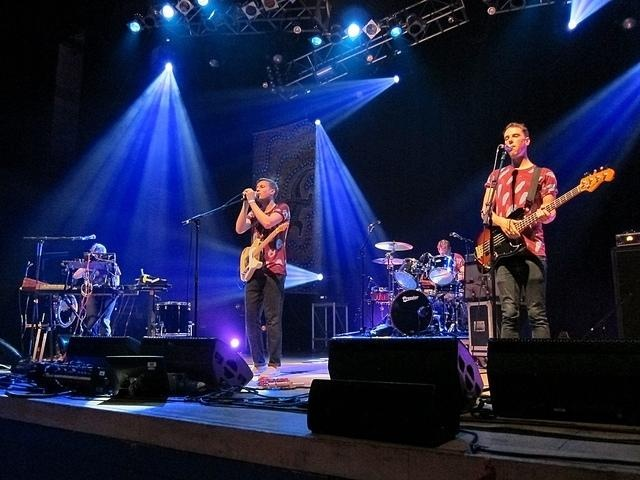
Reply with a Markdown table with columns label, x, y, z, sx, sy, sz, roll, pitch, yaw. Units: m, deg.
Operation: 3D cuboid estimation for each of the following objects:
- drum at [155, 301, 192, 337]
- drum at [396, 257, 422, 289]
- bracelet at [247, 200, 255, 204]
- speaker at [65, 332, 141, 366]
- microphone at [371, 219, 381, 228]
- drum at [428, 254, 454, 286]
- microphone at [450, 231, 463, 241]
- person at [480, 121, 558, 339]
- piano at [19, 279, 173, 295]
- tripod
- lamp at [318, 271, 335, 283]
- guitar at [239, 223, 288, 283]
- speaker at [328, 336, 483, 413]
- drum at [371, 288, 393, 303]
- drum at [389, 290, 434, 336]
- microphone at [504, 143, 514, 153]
| label | x | y | z | sx | sy | sz | roll | pitch | yaw |
| --- | --- | --- | --- | --- | --- | --- | --- | --- | --- |
| drum | -2.105 | 1.146 | 8.186 | 0.466 | 0.466 | 0.485 | 0 | -5 | 1 |
| drum | 1.291 | 0.521 | 8.108 | 0.462 | 0.481 | 0.479 | 5 | -13 | 12 |
| bracelet | -0.674 | -0.376 | 5.514 | 0.042 | 0.014 | 0.044 | -3 | -14 | 18 |
| speaker | -1.725 | 0.876 | 4.429 | 0.645 | 0.222 | 0.258 | -8 | -15 | 25 |
| microphone | 0.961 | -0.278 | 9.557 | 0.206 | 0.051 | 0.125 | -23 | 6 | -17 |
| drum | 1.636 | 0.396 | 7.543 | 0.366 | 0.424 | 0.441 | -4 | -14 | 12 |
| microphone | 2.118 | -0.055 | 8.683 | 0.129 | 0.084 | 0.129 | 13 | 0 | -29 |
| person | 1.562 | -0.096 | 4.365 | 0.563 | 1.725 | 0.396 | -7 | -14 | 24 |
| piano | -2.966 | 0.616 | 7.403 | 1.746 | 0.247 | 0.296 | 5 | -15 | -23 |
| tripod | 0.645 | 0.816 | 8.467 | 0.574 | 1.434 | 0.519 | -3 | 7 | -17 |
| lamp | 0.127 | 0.676 | 9.947 | 0.383 | 0.235 | 0.105 | 10 | -17 | -38 |
| guitar | -0.556 | 0.114 | 5.471 | 0.468 | 0.575 | 0.236 | -2 | -13 | 2 |
| speaker | 0.493 | 0.795 | 3.328 | 0.907 | 0.444 | 0.553 | -3 | -14 | 7 |
| drum | 0.950 | 0.858 | 8.615 | 0.323 | 0.253 | 0.439 | -2 | -14 | 5 |
| drum | 1.175 | 0.937 | 7.115 | 0.581 | 0.670 | 0.355 | -4 | -4 | 32 |
| microphone | 1.496 | -0.728 | 4.462 | 0.057 | 0.057 | 0.014 | 26 | -14 | -12 |
